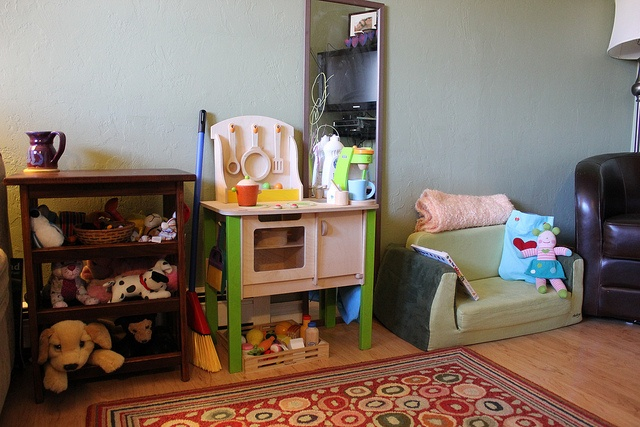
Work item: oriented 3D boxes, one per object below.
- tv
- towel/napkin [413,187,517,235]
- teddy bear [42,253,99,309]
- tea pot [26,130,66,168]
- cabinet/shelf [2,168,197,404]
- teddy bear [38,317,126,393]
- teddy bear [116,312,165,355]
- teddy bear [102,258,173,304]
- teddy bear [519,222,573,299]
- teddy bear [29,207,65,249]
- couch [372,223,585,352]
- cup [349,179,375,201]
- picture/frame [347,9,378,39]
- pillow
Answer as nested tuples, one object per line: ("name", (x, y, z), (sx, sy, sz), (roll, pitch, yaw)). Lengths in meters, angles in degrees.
("tv", (0.197, -0.865, 3.195), (0.442, 0.374, 0.033), (-13, 21, -30))
("towel/napkin", (1.004, -0.056, 3.480), (0.571, 0.212, 0.331), (-7, 5, -22))
("teddy bear", (-1.272, 0.342, 2.545), (0.243, 0.285, 0.236), (2, 8, -26))
("tea pot", (-1.426, -0.324, 2.549), (0.232, 0.224, 0.147), (1, 3, -29))
("cabinet/shelf", (-1.181, 0.400, 2.571), (1.085, 1.369, 0.579), (-3, 13, -19))
("teddy bear", (-1.277, 0.704, 2.529), (0.358, 0.252, 0.407), (18, 20, 31))
("teddy bear", (-1.005, 0.654, 2.787), (0.259, 0.273, 0.205), (-5, 4, -30))
("teddy bear", (-0.975, 0.359, 2.637), (0.338, 0.203, 0.175), (-2, 17, -38))
("teddy bear", (1.471, 0.314, 3.212), (0.322, 0.468, 0.139), (-4, -8, 22))
("teddy bear", (-1.360, 0.070, 2.453), (0.127, 0.199, 0.070), (-3, 10, -2))
("couch", (1.119, 0.451, 3.424), (1.314, 0.643, 0.777), (-5, 10, -26))
("cup", (0.266, -0.139, 3.004), (0.173, 0.119, 0.110), (2, 7, -3))
("picture/frame", (0.263, -1.218, 3.182), (0.203, 0.136, 0.008), (-8, 11, -29))
("pillow", (1.424, 0.235, 3.486), (0.362, 0.481, 0.145), (10, 5, 39))
